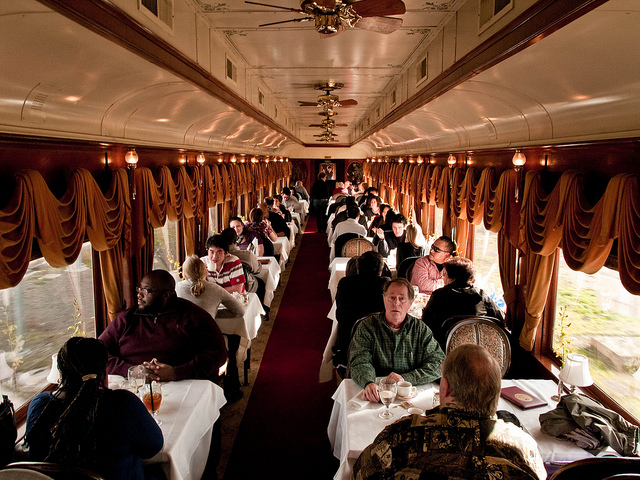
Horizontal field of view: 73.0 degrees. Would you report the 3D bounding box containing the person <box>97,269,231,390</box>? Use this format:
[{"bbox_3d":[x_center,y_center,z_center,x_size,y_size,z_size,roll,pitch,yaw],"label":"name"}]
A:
[{"bbox_3d":[-1.503,0.822,4.018,1.154,1.134,0.854,1,2,-4],"label":"person"}]

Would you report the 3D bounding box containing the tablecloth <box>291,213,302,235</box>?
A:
[{"bbox_3d":[-0.835,-0.667,16.870,0.574,0.618,0.603,1,13,5],"label":"tablecloth"}]

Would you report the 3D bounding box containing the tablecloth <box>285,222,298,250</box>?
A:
[{"bbox_3d":[-0.846,-0.116,13.552,0.630,0.657,0.671,2,27,4],"label":"tablecloth"}]

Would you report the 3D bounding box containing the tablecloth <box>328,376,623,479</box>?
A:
[{"bbox_3d":[1.043,1.625,3.581,1.935,0.922,1.043,0,12,1],"label":"tablecloth"}]

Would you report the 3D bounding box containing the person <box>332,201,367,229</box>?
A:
[{"bbox_3d":[0.789,-0.619,11.264,0.545,0.877,0.605,2,4,3],"label":"person"}]

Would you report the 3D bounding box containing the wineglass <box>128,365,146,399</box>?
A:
[{"bbox_3d":[-1.455,1.110,3.442,0.188,0.251,0.084,4,12,18],"label":"wineglass"}]

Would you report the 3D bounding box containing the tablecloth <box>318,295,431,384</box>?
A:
[{"bbox_3d":[0.681,1.236,6.306,1.350,1.137,2.520,0,12,1],"label":"tablecloth"}]

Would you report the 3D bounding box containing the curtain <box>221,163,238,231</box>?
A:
[{"bbox_3d":[-2.476,-1.199,11.817,0.422,1.774,2.075,-2,12,-9],"label":"curtain"}]

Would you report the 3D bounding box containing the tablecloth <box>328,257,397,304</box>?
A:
[{"bbox_3d":[0.563,0.511,5.577,0.645,0.375,0.651,-1,25,-2],"label":"tablecloth"}]

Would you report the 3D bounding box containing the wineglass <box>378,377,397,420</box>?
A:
[{"bbox_3d":[0.546,1.239,3.483,0.154,0.201,0.364,2,12,9],"label":"wineglass"}]

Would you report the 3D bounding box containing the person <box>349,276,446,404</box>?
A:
[{"bbox_3d":[0.669,0.950,4.080,0.741,1.123,1.006,0,-5,5],"label":"person"}]

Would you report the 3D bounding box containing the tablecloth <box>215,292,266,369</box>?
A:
[{"bbox_3d":[-1.022,1.080,5.831,0.865,0.478,0.750,2,14,9],"label":"tablecloth"}]

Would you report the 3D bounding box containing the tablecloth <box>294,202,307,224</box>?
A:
[{"bbox_3d":[-0.827,-1.146,18.330,0.447,0.323,1.250,4,23,6],"label":"tablecloth"}]

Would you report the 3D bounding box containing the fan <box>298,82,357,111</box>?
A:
[{"bbox_3d":[0.283,-3.266,9.834,0.967,0.457,1.027,1,9,11],"label":"fan"}]

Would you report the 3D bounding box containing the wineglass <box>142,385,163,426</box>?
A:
[{"bbox_3d":[-1.302,1.266,3.377,0.131,0.268,0.246,-6,13,-24],"label":"wineglass"}]

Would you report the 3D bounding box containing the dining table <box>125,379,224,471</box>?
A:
[{"bbox_3d":[-1.116,1.493,3.529,0.709,0.291,0.752,5,23,4],"label":"dining table"}]
